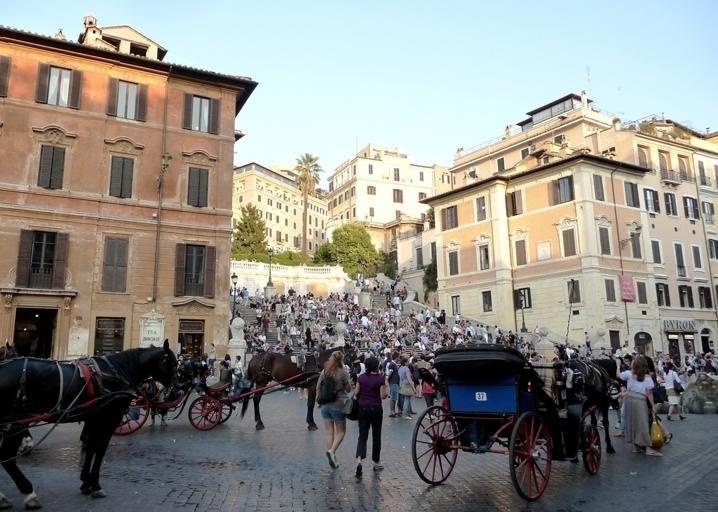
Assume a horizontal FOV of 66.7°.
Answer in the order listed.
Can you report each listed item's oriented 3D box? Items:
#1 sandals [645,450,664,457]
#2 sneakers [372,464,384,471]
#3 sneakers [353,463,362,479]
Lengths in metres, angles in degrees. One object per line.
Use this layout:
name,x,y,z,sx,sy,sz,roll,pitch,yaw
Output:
sandals,7.055,4.688,13.039,0.298,0.104,0.163,3,-8,0
sneakers,0.427,4.615,11.987,0.218,0.133,0.109,2,-1,-39
sneakers,0.008,4.526,11.511,0.102,0.291,0.126,0,1,0
